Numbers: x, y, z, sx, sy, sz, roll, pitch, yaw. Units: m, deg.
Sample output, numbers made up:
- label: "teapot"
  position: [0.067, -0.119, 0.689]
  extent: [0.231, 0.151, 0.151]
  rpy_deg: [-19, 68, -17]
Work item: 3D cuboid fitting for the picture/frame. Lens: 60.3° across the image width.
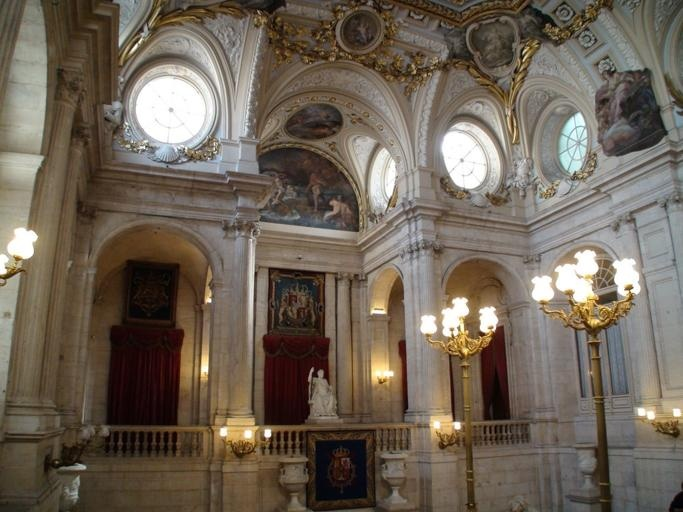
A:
- label: "picture/frame"
  position: [-0.122, 5.733, 15.688]
  extent: [2.317, 2.264, 0.118]
  rpy_deg: [1, -6, -17]
